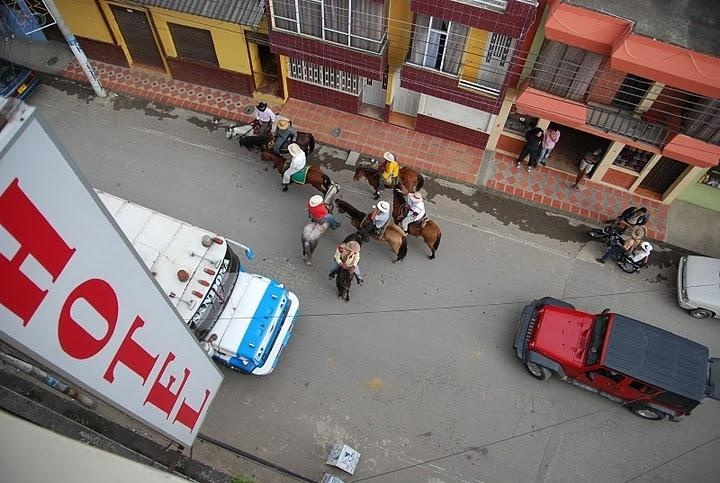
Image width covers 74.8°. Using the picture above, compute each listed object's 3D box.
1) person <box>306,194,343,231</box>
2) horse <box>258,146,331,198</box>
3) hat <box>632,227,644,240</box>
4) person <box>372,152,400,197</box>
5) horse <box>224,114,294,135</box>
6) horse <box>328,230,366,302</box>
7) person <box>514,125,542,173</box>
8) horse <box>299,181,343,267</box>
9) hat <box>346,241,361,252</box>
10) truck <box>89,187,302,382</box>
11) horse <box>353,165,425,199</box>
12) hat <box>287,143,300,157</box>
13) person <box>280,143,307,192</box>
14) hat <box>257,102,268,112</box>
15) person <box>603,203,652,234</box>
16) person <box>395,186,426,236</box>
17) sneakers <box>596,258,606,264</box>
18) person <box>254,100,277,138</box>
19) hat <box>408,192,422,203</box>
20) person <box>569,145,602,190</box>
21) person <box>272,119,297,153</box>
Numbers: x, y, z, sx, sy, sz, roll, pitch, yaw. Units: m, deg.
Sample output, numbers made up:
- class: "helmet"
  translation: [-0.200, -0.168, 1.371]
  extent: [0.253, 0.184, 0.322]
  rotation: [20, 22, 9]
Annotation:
- class: "person"
  translation: [-1.425, -1.054, 18.377]
  extent: [1.020, 1.775, 0.652]
  rotation: [-35, 51, -19]
- class: "horse"
  translation: [-2.971, -2.924, 20.327]
  extent: [2.948, 1.737, 0.724]
  rotation: [18, 82, 4]
- class: "hat"
  translation: [10.770, -0.336, 18.200]
  extent: [0.339, 0.473, 0.428]
  rotation: [-8, 70, 11]
- class: "person"
  translation: [1.084, -2.763, 19.840]
  extent: [1.067, 2.016, 0.878]
  rotation: [-6, 70, -3]
- class: "horse"
  translation: [-4.564, -5.238, 21.208]
  extent: [2.851, 0.606, 1.128]
  rotation: [-8, 46, 3]
- class: "horse"
  translation: [-0.515, 0.890, 17.460]
  extent: [1.172, 2.089, 2.665]
  rotation: [5, 77, -9]
- class: "person"
  translation: [7.552, -4.172, 20.681]
  extent: [0.710, 2.171, 0.708]
  rotation: [32, 51, 22]
- class: "horse"
  translation: [-1.581, -0.590, 19.118]
  extent: [1.011, 2.288, 2.849]
  rotation: [18, 76, 13]
- class: "hat"
  translation: [-0.240, 0.178, 16.773]
  extent: [0.377, 0.104, 0.409]
  rotation: [36, 36, 1]
- class: "truck"
  translation: [-5.887, 1.637, 17.712]
  extent: [8.828, 3.718, 4.323]
  rotation: [32, 73, -9]
- class: "horse"
  translation: [1.170, -2.485, 19.885]
  extent: [2.850, 1.561, 0.782]
  rotation: [2, 79, 3]
- class: "hat"
  translation: [-2.665, -3.717, 19.034]
  extent: [0.449, 0.171, 0.545]
  rotation: [-1, 102, 1]
- class: "person"
  translation: [-2.732, -3.040, 19.623]
  extent: [1.063, 1.961, 0.584]
  rotation: [1, 43, -4]
- class: "hat"
  translation: [-4.235, -5.774, 20.193]
  extent: [0.371, 0.420, 0.284]
  rotation: [-12, 57, -9]
- class: "person"
  translation: [10.947, -0.895, 19.084]
  extent: [1.797, 1.050, 0.946]
  rotation: [-16, 76, 37]
- class: "person"
  translation: [2.028, -1.209, 18.054]
  extent: [1.431, 1.825, 0.970]
  rotation: [17, 68, -2]
- class: "sneakers"
  translation: [9.963, 0.795, 19.437]
  extent: [0.359, 0.156, 0.163]
  rotation: [10, 66, 11]
- class: "person"
  translation: [-4.217, -5.118, 20.508]
  extent: [0.883, 0.845, 2.344]
  rotation: [-5, 62, 0]
- class: "hat"
  translation: [2.083, -1.655, 17.856]
  extent: [0.518, 0.458, 0.402]
  rotation: [6, 56, 3]
- class: "person"
  translation: [9.903, -3.253, 20.560]
  extent: [0.553, 1.893, 1.102]
  rotation: [34, 62, 20]
- class: "person"
  translation: [-3.276, -4.439, 20.019]
  extent: [0.690, 1.589, 0.761]
  rotation: [-35, 88, -17]
